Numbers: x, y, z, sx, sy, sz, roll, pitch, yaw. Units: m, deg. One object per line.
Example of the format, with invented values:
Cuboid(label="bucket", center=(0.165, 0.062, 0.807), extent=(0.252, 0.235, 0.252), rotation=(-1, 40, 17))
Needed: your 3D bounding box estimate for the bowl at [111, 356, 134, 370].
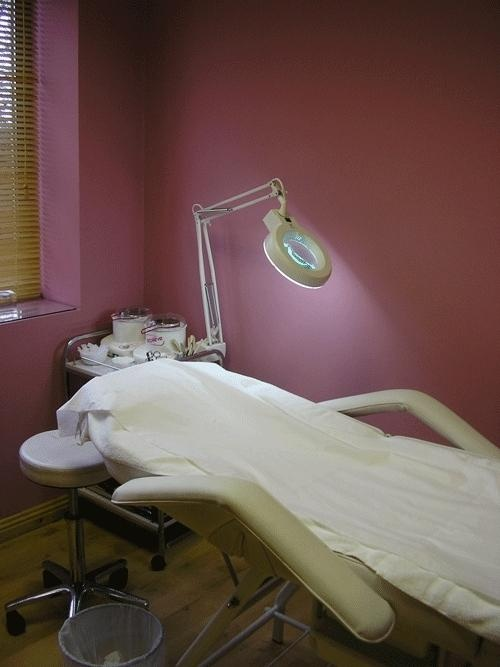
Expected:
Cuboid(label="bowl", center=(-0.537, 0.118, 2.432), extent=(0.074, 0.026, 0.075), rotation=(2, 17, -1))

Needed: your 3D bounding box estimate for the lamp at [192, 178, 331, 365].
Cuboid(label="lamp", center=(0.009, -0.190, 2.047), extent=(0.364, 0.675, 1.047), rotation=(0, 14, -11))

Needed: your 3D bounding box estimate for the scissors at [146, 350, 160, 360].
Cuboid(label="scissors", center=(-0.390, 0.087, 2.335), extent=(0.043, 0.013, 0.058), rotation=(5, 16, 10))
